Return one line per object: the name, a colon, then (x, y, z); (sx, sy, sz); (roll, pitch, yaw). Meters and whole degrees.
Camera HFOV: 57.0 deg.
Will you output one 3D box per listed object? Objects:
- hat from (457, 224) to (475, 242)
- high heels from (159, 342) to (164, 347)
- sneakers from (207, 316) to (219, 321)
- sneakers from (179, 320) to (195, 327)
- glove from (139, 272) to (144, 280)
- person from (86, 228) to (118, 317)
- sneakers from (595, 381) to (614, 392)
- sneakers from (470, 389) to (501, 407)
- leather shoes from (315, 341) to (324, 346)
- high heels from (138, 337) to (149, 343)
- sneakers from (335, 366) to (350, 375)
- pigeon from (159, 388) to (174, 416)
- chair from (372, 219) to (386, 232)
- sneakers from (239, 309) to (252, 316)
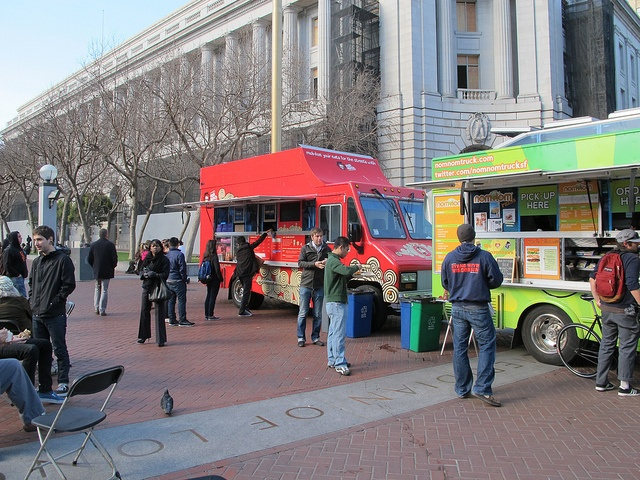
hat: (2.265, -0.108, 9.189); (0.204, 0.284, 0.278); (1, 12, 44)
high heels: (-3.203, 2.105, 11.812); (0.123, 0.062, 0.115); (-2, 7, -17)
sneakers: (-2.661, 1.938, 14.603); (0.281, 0.127, 0.101); (0, 0, -31)
sneakers: (-3.173, 1.968, 13.873); (0.276, 0.128, 0.149); (1, -2, -11)
glove: (-3.665, 0.740, 12.005); (0.064, 0.199, 0.129); (5, 4, -25)
person: (-5.668, 0.831, 15.261); (0.688, 2.294, 1.511); (-3, 7, -22)
sneakers: (4.521, 2.308, 9.350); (0.316, 0.151, 0.116); (-5, 5, -35)
sneakers: (2.498, 2.391, 8.863); (0.398, 0.191, 0.143); (20, -5, 27)
leather shoes: (-0.018, 2.084, 11.841); (0.074, 0.094, 0.215); (-4, -3, -39)
high heels: (-3.668, 2.066, 12.088); (0.168, 0.087, 0.099); (10, -8, -19)
sneakers: (0.376, 2.218, 10.087); (0.164, 0.141, 0.311); (-3, 8, -25)
pigeon: (-2.222, 2.301, 8.506); (0.178, 0.364, 0.370); (-2, 7, -14)
chair: (1.324, -0.282, 13.365); (0.178, 0.359, 0.560); (5, 9, 40)
sneakers: (-1.953, 1.894, 15.281); (0.399, 0.200, 0.145); (-2, -1, -5)
